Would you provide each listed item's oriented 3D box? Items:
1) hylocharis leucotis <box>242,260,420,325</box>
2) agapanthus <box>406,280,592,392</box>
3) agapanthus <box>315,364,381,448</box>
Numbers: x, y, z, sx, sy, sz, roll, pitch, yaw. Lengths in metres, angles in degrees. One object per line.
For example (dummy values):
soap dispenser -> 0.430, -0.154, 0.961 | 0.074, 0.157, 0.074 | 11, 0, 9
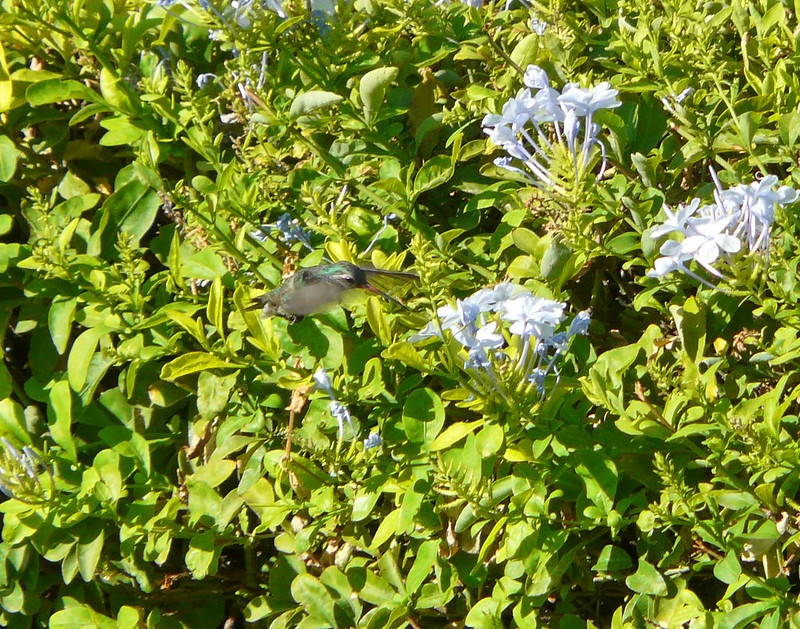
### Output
hylocharis leucotis -> -0.149, -0.032, 1.932 | 0.341, 0.130, 0.181 | 0, 0, 6
agapanthus -> 0.202, 0.017, 1.892 | 0.240, 0.286, 0.409 | -9, 13, -31
agapanthus -> -0.116, 0.200, 2.112 | 0.138, 0.214, 0.100 | -15, 19, -28
